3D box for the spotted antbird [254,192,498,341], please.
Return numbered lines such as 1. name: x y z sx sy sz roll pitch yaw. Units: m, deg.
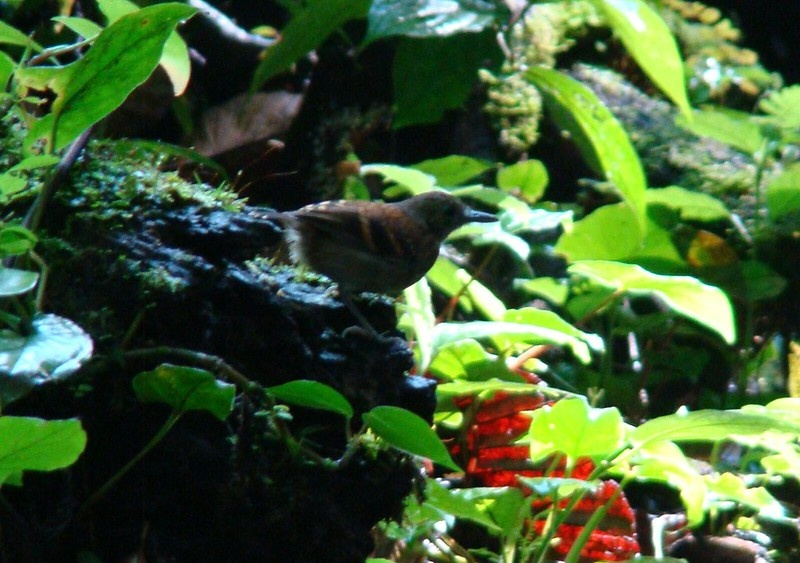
1. spotted antbird: -0.048 -0.160 4.364 0.921 0.601 0.433 13 -2 -16
